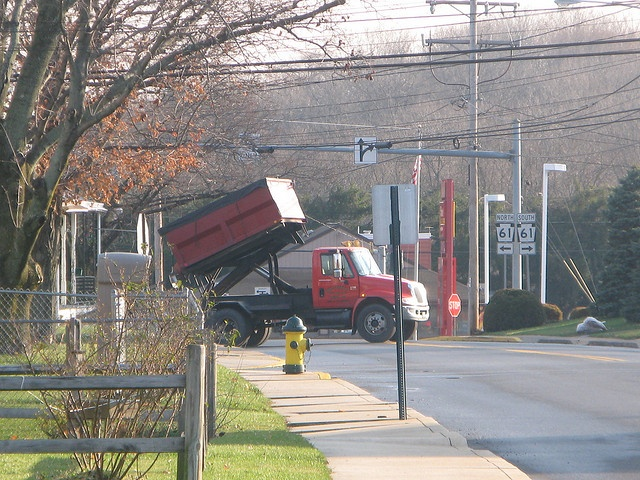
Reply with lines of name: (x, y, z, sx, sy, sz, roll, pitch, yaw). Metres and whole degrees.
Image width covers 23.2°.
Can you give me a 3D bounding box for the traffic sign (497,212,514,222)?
traffic sign: (7.379, -0.866, 61.840, 0.689, 0.371, 0.553, -2, -5, 4)
